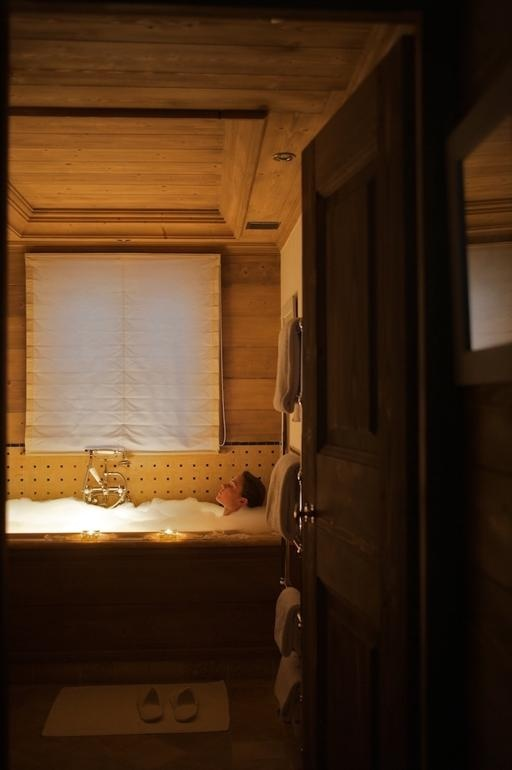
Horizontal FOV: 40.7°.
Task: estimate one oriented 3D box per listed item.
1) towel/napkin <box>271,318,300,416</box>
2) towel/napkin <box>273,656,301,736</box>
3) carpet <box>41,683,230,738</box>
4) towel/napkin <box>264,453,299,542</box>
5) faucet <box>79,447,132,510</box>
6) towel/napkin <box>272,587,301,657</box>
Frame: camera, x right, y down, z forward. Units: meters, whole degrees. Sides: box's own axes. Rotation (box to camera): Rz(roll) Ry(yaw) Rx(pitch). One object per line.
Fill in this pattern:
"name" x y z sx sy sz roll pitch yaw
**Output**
"towel/napkin" 0.123 -0.078 2.653 0.079 0.298 0.276 1 -1 -3
"towel/napkin" 0.085 1.058 2.343 0.046 0.196 0.129 -1 -7 -8
"carpet" -0.417 1.171 2.509 0.639 0.029 0.391 0 3 -4
"towel/napkin" 0.103 0.430 2.565 0.086 0.277 0.257 2 -1 -4
"faucet" -0.812 0.542 3.723 0.233 0.397 0.195 1 1 -20
"towel/napkin" 0.110 0.820 2.403 0.064 0.203 0.183 4 -3 -7
